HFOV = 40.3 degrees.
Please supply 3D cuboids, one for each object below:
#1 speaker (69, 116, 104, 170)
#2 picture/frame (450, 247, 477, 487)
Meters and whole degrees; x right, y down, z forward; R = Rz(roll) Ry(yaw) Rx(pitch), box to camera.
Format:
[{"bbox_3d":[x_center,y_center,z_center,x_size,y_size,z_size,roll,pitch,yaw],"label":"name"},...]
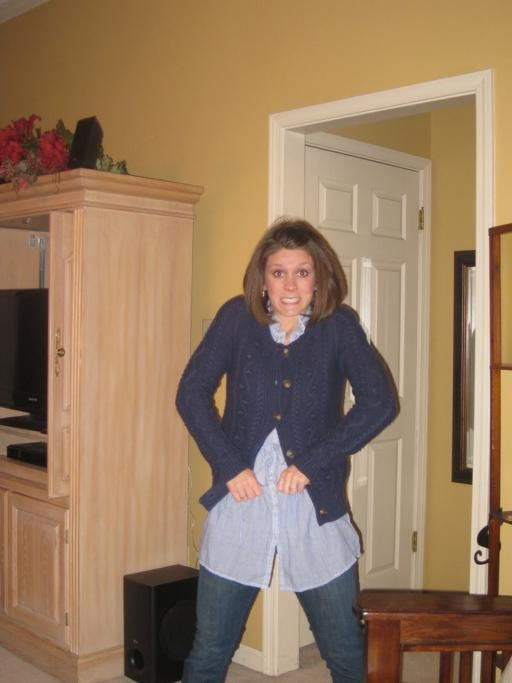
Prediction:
[{"bbox_3d":[-0.636,-0.732,2.564,0.118,0.217,0.264,3,-1,-6],"label":"speaker"},{"bbox_3d":[0.970,0.122,3.300,0.126,1.062,0.080,3,0,17],"label":"picture/frame"}]
